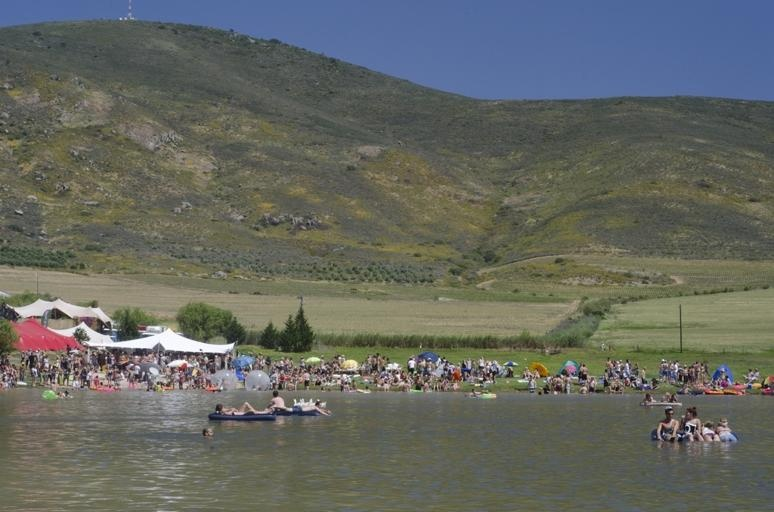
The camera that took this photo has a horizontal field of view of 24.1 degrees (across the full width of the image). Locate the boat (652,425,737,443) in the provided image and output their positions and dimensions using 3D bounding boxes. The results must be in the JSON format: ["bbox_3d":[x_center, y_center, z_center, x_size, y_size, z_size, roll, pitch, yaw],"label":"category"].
[{"bbox_3d":[52.798,30.401,306.174,13.987,2.230,1.342,1,14,1],"label":"boat"}]

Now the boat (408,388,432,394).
[{"bbox_3d":[5.983,24.561,328.363,3.727,0.292,2.094,1,11,0],"label":"boat"}]

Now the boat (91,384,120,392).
[{"bbox_3d":[-50.980,23.927,326.247,4.713,0.711,1.849,0,12,-2],"label":"boat"}]

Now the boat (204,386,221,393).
[{"bbox_3d":[-31.654,24.077,327.729,3.063,0.754,1.359,7,13,26],"label":"boat"}]
